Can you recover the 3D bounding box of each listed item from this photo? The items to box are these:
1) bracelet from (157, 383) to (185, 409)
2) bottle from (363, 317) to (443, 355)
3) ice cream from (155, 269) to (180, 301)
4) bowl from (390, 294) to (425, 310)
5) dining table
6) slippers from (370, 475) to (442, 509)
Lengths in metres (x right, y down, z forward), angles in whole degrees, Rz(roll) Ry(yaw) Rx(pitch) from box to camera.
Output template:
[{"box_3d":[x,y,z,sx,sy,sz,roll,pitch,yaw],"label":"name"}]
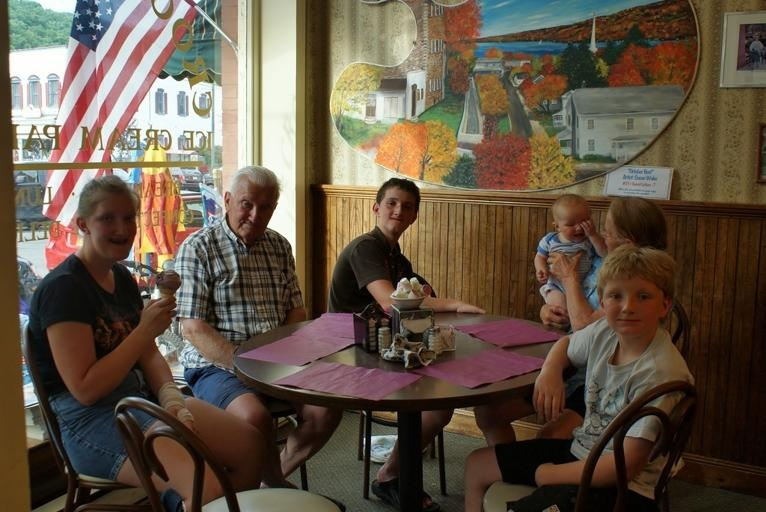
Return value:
[{"box_3d":[-0.841,0.549,2.454,0.089,0.098,0.098,9,16,39],"label":"bracelet"},{"box_3d":[0.103,0.321,2.534,0.212,0.099,0.209,1,6,0],"label":"bottle"},{"box_3d":[-0.839,0.114,2.410,0.107,0.140,0.098,0,-1,-18],"label":"ice cream"},{"box_3d":[0.104,0.186,2.556,0.123,0.059,0.068,-2,12,-1],"label":"bowl"},{"box_3d":[-0.016,0.447,2.619,0.913,0.628,0.916,0,1,-1],"label":"dining table"},{"box_3d":[0.113,1.239,3.176,0.163,0.134,0.440,1,-5,-36],"label":"slippers"}]
